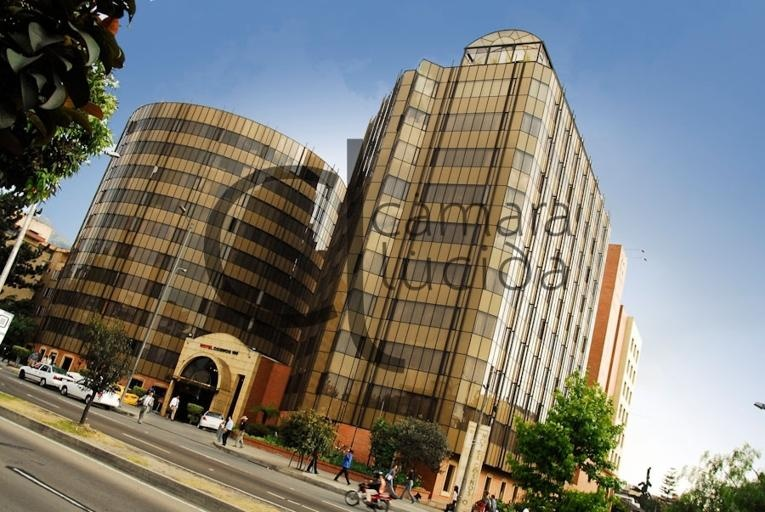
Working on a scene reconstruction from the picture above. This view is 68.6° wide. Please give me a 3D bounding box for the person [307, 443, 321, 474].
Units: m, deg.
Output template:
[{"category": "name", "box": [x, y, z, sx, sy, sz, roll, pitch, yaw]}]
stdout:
[{"category": "person", "box": [-4.288, 12.653, 35.082, 0.655, 1.672, 1.521, 16, -21, -3]}]
